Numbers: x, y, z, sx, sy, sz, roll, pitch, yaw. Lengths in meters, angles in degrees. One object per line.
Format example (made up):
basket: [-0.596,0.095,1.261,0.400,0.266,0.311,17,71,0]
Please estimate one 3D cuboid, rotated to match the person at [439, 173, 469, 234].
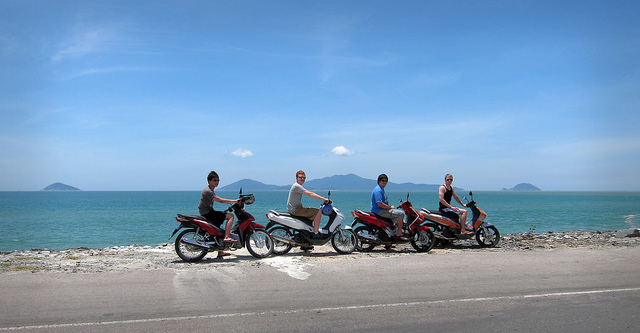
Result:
person: [6.226,1.781,21.083,1.471,2.717,1.087,1,-3,-39]
